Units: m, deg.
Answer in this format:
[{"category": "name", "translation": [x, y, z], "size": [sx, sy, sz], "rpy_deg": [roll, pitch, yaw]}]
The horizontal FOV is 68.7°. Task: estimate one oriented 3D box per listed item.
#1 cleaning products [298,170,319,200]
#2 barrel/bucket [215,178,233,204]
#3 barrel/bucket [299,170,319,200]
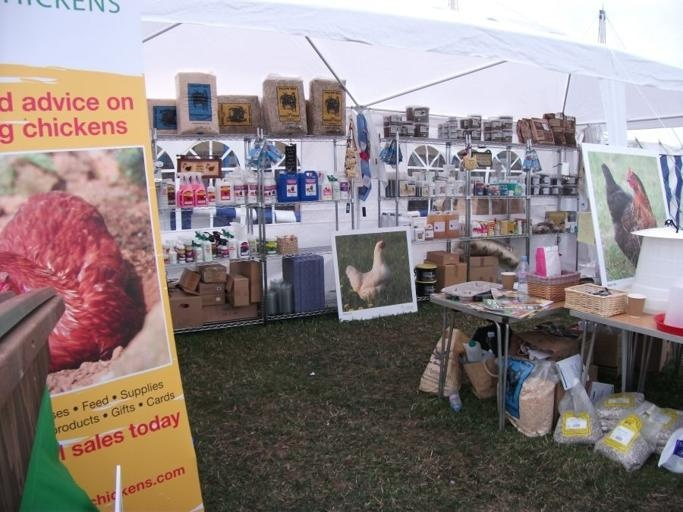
[{"category": "cleaning products", "translation": [-0.404, -0.852, 6.040], "size": [0.308, 0.473, 0.174], "rpy_deg": [-3, 16, -15]}, {"category": "barrel/bucket", "translation": [-1.336, -0.729, 5.714], "size": [0.110, 0.263, 0.215], "rpy_deg": [7, 16, 32]}, {"category": "barrel/bucket", "translation": [-0.403, -0.853, 6.037], "size": [0.302, 0.466, 0.174], "rpy_deg": [-3, 15, -14]}]
